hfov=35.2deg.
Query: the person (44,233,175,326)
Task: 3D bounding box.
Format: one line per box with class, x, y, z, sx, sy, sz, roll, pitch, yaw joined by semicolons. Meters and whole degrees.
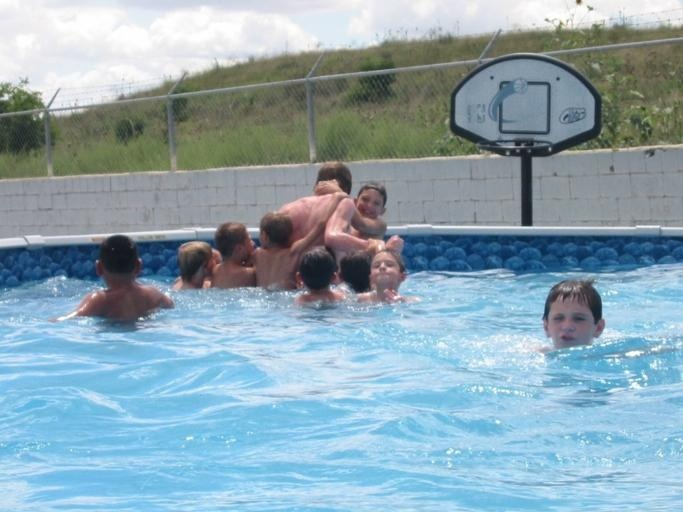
person;-1.813;0.215;8.565;1.108;0.723;0.527;-6;4;-30
